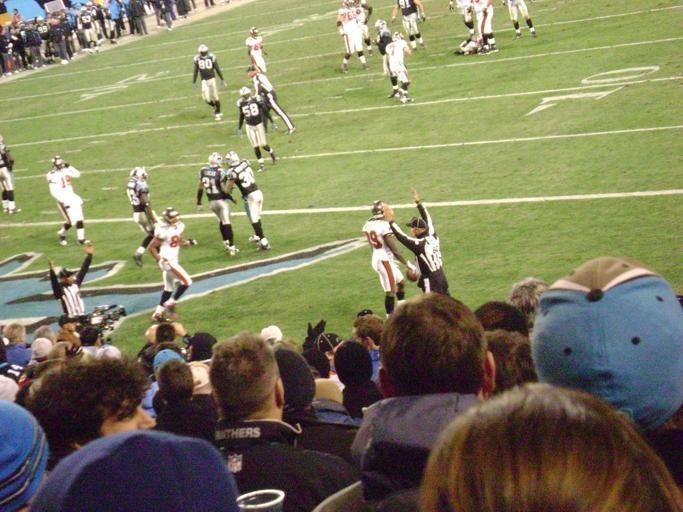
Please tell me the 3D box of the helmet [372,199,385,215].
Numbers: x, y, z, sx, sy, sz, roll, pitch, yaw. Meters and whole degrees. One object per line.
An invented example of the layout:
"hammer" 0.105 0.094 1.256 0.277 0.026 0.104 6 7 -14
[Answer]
"helmet" 0.454 -0.652 11.831 0.185 0.182 0.196 6 5 19

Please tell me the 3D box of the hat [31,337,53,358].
"hat" -2.987 0.920 8.744 0.207 0.240 0.260 3 16 -14

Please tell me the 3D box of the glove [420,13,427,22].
"glove" 2.852 -8.392 30.873 0.250 0.265 0.738 -1 7 5

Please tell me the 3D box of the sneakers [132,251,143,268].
"sneakers" -3.669 0.075 15.756 0.110 0.316 0.143 8 47 39

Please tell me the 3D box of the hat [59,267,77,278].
"hat" -4.021 0.246 12.895 0.227 0.171 0.258 -4 0 -39

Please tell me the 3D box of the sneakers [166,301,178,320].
"sneakers" -2.538 0.820 13.106 0.116 0.120 0.301 2 31 -3

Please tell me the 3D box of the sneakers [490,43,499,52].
"sneakers" 4.400 -6.008 25.273 0.201 0.229 0.368 -7 11 25

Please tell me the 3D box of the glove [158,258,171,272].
"glove" -2.701 0.129 13.307 0.198 0.201 0.210 -7 5 2

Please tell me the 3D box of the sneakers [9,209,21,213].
"sneakers" -7.767 -1.078 20.842 0.267 0.095 0.076 -5 52 8

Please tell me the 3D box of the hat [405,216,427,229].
"hat" 0.956 -0.416 11.017 0.182 0.142 0.276 -12 10 -3

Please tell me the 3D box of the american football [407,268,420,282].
"american football" 0.916 0.244 11.253 0.165 0.150 0.132 0 -6 8

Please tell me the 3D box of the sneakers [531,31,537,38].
"sneakers" 5.604 -6.494 25.719 0.185 0.167 0.265 22 24 -4

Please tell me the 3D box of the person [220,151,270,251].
"person" -1.725 -1.012 15.784 0.580 1.753 1.355 -14 11 -4

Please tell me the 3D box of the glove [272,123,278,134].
"glove" -1.815 -3.410 23.496 0.097 0.270 0.110 1 13 19

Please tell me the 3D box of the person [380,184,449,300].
"person" 0.980 -0.174 11.110 0.464 1.385 0.898 -16 11 -10

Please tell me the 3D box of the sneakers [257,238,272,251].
"sneakers" -1.371 -0.196 15.475 0.226 0.188 0.101 -6 1 8

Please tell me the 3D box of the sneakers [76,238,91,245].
"sneakers" -5.075 -0.277 17.201 0.321 0.180 0.101 -2 18 -1

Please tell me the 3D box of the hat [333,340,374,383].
"hat" 0.076 0.731 5.970 0.254 0.263 0.303 -4 17 0

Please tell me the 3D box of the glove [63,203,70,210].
"glove" -5.461 -0.982 17.423 0.128 0.108 0.029 -10 12 4

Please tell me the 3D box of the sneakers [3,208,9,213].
"sneakers" -7.971 -1.078 20.838 0.177 0.140 0.167 0 0 -36

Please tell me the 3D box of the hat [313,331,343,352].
"hat" -0.118 0.802 8.093 0.244 0.128 0.157 -19 25 15

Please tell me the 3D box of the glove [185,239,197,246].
"glove" -2.670 -0.250 15.613 0.230 0.100 0.362 -3 7 -2
